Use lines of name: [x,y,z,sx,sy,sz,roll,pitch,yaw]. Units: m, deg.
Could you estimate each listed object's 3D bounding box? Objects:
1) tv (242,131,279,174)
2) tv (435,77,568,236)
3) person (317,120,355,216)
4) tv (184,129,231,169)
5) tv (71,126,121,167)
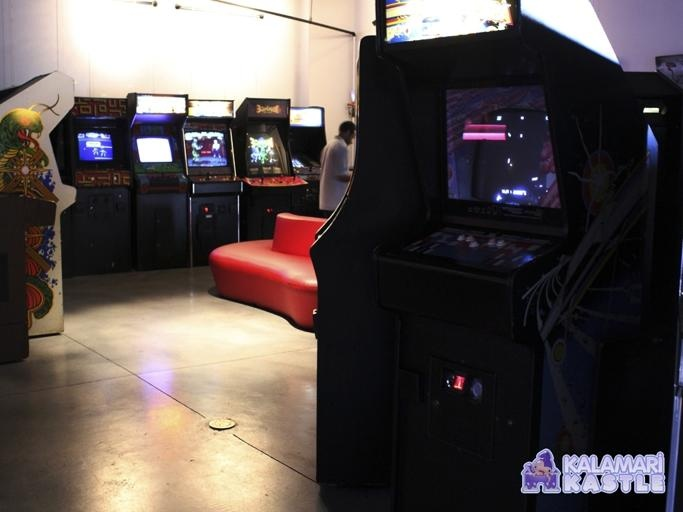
tv: [-1.322,-1.618,8.497,0.695,0.874,0.103,0,-16,-33]
tv: [0.643,-0.397,2.080,0.044,0.652,0.560,-9,10,-36]
person: [-0.057,-1.091,6.705,0.421,1.158,0.515,-1,8,-2]
tv: [-2.060,-1.591,8.044,0.601,0.564,0.219,0,-10,-33]
tv: [-3.370,-1.570,7.238,0.664,0.647,0.364,-11,37,-38]
